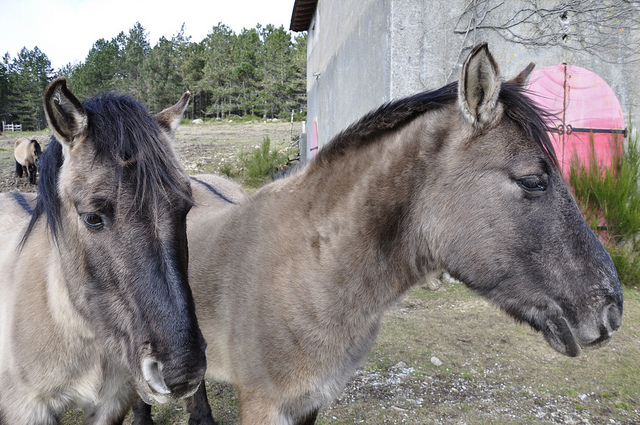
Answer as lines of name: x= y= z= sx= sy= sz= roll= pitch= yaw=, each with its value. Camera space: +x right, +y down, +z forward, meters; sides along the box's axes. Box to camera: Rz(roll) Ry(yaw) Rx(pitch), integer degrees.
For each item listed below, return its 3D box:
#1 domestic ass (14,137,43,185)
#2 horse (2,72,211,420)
domestic ass: x=-7.605 y=-1.340 z=15.686 sx=0.491 sy=1.163 sz=1.944 roll=-8 pitch=18 yaw=-40
horse: x=-1.745 y=0.352 z=4.850 sx=1.761 sy=2.785 sz=0.870 roll=1 pitch=7 yaw=-1
